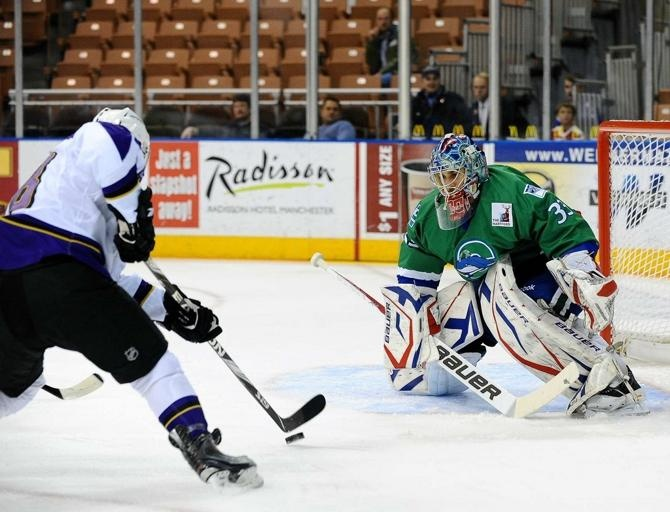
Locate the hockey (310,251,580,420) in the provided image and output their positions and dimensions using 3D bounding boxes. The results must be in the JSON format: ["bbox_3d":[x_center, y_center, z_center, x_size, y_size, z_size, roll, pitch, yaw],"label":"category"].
[{"bbox_3d":[0.547,0.379,4.483,0.433,0.088,1.662,-34,35,-10],"label":"hockey"}]

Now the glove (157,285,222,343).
[{"bbox_3d":[-0.573,0.237,3.745,0.245,0.114,0.171,32,17,-18],"label":"glove"}]

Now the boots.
[{"bbox_3d":[-0.443,0.674,3.378,0.257,0.182,0.094,-6,25,20],"label":"boots"}]

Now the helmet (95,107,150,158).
[{"bbox_3d":[-0.791,-0.478,3.551,0.208,0.209,0.162,-9,25,-44],"label":"helmet"}]

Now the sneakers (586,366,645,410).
[{"bbox_3d":[1.274,0.600,4.182,0.346,0.194,0.124,-4,10,-19],"label":"sneakers"}]

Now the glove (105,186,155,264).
[{"bbox_3d":[-0.741,-0.123,3.616,0.144,0.189,0.300,2,22,-15],"label":"glove"}]

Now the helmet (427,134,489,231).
[{"bbox_3d":[0.582,-0.367,4.368,0.285,0.430,0.231,-15,15,-29],"label":"helmet"}]

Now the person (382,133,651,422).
[{"bbox_3d":[0.808,0.088,4.510,0.713,1.251,1.374,-10,3,-43],"label":"person"}]
